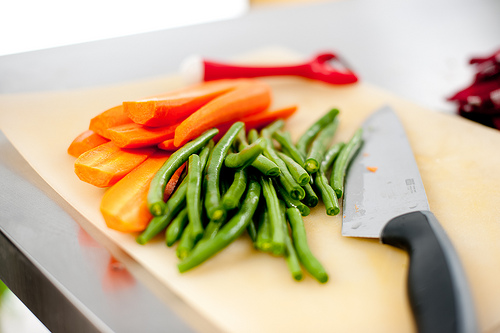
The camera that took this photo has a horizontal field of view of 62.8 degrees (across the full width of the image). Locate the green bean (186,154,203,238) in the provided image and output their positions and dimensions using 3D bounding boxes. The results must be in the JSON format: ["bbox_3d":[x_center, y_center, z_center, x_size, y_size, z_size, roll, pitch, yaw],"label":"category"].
[{"bbox_3d":[-0.167,0.070,1.269,0.059,0.065,0.403,-18,35,4],"label":"green bean"}]

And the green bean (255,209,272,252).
[{"bbox_3d":[0.053,0.197,1.286,0.062,0.062,0.205,-16,19,9],"label":"green bean"}]

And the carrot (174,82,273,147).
[{"bbox_3d":[-0.101,-0.203,1.584,0.138,0.136,0.554,-2,18,39],"label":"carrot"}]

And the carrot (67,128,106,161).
[{"bbox_3d":[-0.560,-0.076,1.446,0.112,0.038,0.113,24,66,31],"label":"carrot"}]

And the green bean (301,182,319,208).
[{"bbox_3d":[0.191,0.092,1.321,0.050,0.057,0.120,-5,15,-5],"label":"green bean"}]

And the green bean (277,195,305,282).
[{"bbox_3d":[0.103,0.207,1.227,0.049,0.039,0.260,11,50,-29],"label":"green bean"}]

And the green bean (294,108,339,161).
[{"bbox_3d":[0.257,-0.132,1.633,0.045,0.083,0.360,7,29,33],"label":"green bean"}]

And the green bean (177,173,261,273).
[{"bbox_3d":[-0.071,0.178,1.231,0.103,0.179,0.341,24,40,36],"label":"green bean"}]

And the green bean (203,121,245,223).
[{"bbox_3d":[-0.050,0.016,1.255,0.082,0.236,0.167,0,22,3],"label":"green bean"}]

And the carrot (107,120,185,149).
[{"bbox_3d":[-0.363,-0.112,1.367,0.173,0.054,0.101,-9,4,-38],"label":"carrot"}]

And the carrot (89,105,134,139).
[{"bbox_3d":[-0.483,-0.158,1.448,0.095,0.115,0.117,-20,28,-40],"label":"carrot"}]

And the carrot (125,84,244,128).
[{"bbox_3d":[-0.225,-0.232,1.469,0.399,0.111,0.097,-14,43,-42],"label":"carrot"}]

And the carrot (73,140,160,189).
[{"bbox_3d":[-0.448,-0.020,1.330,0.124,0.063,0.232,24,35,26],"label":"carrot"}]

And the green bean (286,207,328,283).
[{"bbox_3d":[0.146,0.225,1.243,0.065,0.046,0.251,4,41,-30],"label":"green bean"}]

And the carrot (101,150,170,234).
[{"bbox_3d":[-0.360,0.081,1.325,0.156,0.083,0.311,17,42,6],"label":"carrot"}]

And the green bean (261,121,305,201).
[{"bbox_3d":[0.094,-0.029,1.396,0.092,0.042,0.307,14,33,-28],"label":"green bean"}]

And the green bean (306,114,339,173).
[{"bbox_3d":[0.279,-0.110,1.539,0.065,0.069,0.452,-22,13,30],"label":"green bean"}]

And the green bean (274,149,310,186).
[{"bbox_3d":[0.136,-0.001,1.366,0.038,0.042,0.197,-19,26,-6],"label":"green bean"}]

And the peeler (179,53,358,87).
[{"bbox_3d":[0.072,-0.372,1.970,0.835,0.196,0.308,-1,17,-6],"label":"peeler"}]

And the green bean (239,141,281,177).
[{"bbox_3d":[0.028,-0.022,1.318,0.084,0.103,0.118,-2,22,4],"label":"green bean"}]

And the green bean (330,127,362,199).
[{"bbox_3d":[0.325,-0.012,1.456,0.084,0.220,0.134,12,27,26],"label":"green bean"}]

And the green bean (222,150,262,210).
[{"bbox_3d":[-0.033,0.037,1.241,0.105,0.159,0.099,-3,19,-2],"label":"green bean"}]
